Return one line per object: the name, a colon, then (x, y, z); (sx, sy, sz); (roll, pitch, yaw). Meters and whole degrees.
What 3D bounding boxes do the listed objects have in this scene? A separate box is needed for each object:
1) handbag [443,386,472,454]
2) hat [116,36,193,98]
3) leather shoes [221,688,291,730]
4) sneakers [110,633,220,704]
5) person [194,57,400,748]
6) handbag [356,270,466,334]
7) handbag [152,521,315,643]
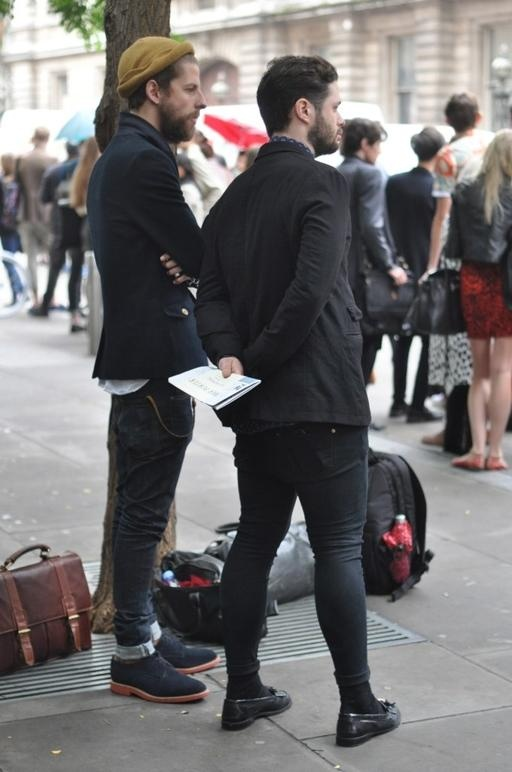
handbag: (1.259, 0.210, 6.558); (0.109, 0.443, 0.283); (-2, 8, -18)
hat: (-0.313, -0.959, 3.121); (0.238, 0.189, 0.151); (5, 9, 29)
leather shoes: (-0.004, 0.914, 2.991); (0.076, 0.081, 0.203); (1, 9, 44)
sneakers: (-0.296, 0.876, 3.181); (0.186, 0.083, 0.235); (2, 6, 5)
person: (0.070, 0.044, 2.841); (0.562, 1.832, 0.410); (8, 11, 44)
handbag: (0.969, -0.528, 6.625); (0.595, 0.563, 0.227); (6, 17, 27)
handbag: (-0.076, 0.697, 3.844); (0.339, 0.255, 0.652); (-1, -2, 27)
